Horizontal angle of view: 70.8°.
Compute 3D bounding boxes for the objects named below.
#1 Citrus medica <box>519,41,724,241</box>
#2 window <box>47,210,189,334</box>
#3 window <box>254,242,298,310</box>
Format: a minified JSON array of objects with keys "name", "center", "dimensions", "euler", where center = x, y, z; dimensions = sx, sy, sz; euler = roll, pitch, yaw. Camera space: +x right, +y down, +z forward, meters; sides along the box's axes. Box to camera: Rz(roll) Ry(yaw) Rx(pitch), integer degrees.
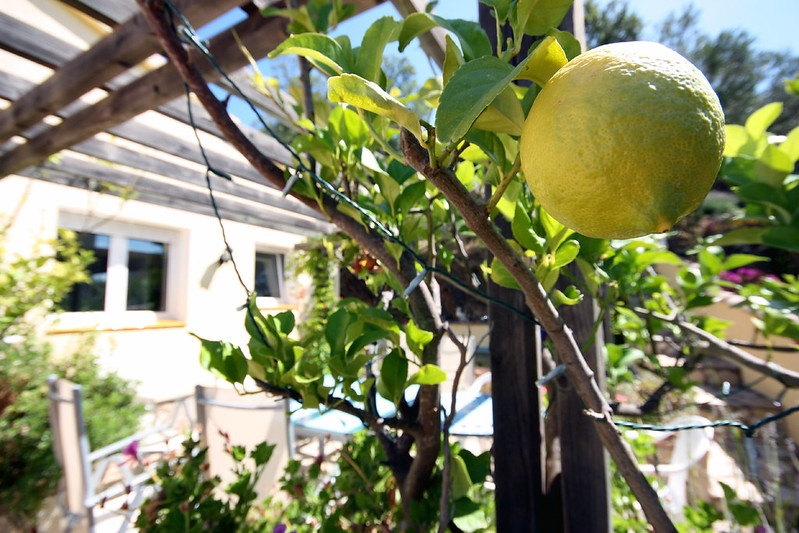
[{"name":"Citrus medica","center":[0.804,-0.484,2.150],"dimensions":[0.642,0.754,0.629],"euler":[-3,-6,-29]},{"name":"window","center":[-2.753,0.088,5.454],"dimensions":[0.150,1.058,1.686],"euler":[-3,-6,24]},{"name":"window","center":[-1.652,0.144,7.449],"dimensions":[0.053,0.810,0.691],"euler":[-12,-10,31]}]
